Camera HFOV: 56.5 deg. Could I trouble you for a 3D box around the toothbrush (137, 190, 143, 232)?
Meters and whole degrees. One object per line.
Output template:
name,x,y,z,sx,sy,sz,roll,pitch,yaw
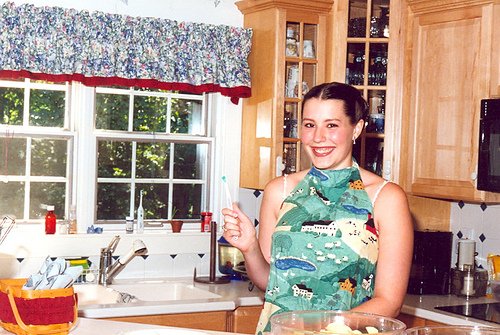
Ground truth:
toothbrush,-0.891,0.348,3.752,0.049,0.317,0.153,-1,4,-14

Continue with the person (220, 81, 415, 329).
person,0.301,0.177,1.940,0.717,1.065,0.472,1,4,18

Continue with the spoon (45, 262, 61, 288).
spoon,-0.818,0.445,1.937,0.038,0.096,0.027,7,-12,24

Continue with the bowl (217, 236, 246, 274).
bowl,-0.169,0.700,3.616,0.146,0.310,0.328,-4,5,-40

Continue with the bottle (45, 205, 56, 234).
bottle,-1.495,0.388,3.465,0.072,0.203,0.045,-1,4,-12
